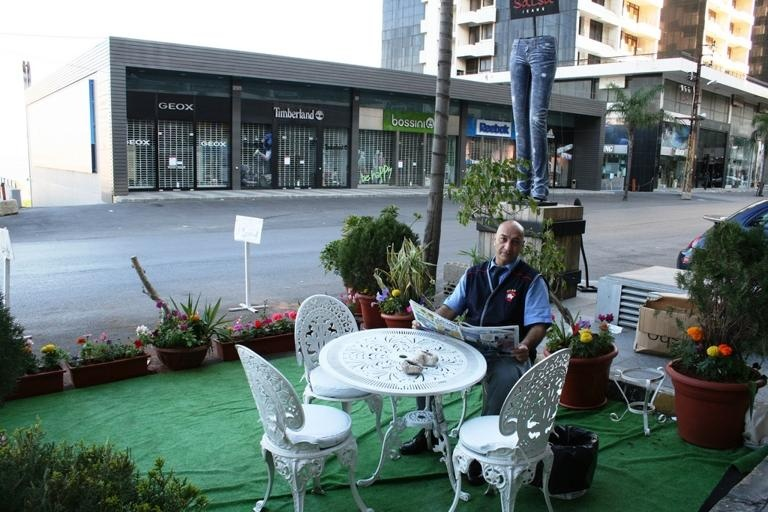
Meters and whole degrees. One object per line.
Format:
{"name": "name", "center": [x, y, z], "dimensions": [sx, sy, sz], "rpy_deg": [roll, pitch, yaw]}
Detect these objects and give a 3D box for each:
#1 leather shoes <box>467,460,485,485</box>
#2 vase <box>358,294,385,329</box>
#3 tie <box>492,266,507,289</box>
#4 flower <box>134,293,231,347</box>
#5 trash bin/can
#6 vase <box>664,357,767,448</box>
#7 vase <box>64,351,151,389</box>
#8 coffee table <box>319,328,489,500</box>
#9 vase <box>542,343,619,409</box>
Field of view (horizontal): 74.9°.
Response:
{"name": "leather shoes", "center": [0.769, 1.861, 4.350], "dimensions": [0.135, 0.137, 0.302], "rpy_deg": [-6, 6, 0]}
{"name": "vase", "center": [-0.219, 0.787, 7.247], "dimensions": [0.455, 0.359, 0.448], "rpy_deg": [-7, 11, -37]}
{"name": "tie", "center": [1.055, 0.200, 4.647], "dimensions": [0.047, 0.199, 0.113], "rpy_deg": [18, -9, -40]}
{"name": "flower", "center": [-2.543, 0.868, 6.508], "dimensions": [0.787, 0.783, 1.104], "rpy_deg": [0, 5, 0]}
{"name": "trash bin/can", "center": [1.560, 1.711, 4.248], "dimensions": [0.465, 0.398, 0.476], "rpy_deg": [11, 2, -9]}
{"name": "vase", "center": [2.990, 1.405, 4.713], "dimensions": [0.763, 0.606, 0.734], "rpy_deg": [-2, 10, -35]}
{"name": "vase", "center": [-3.122, 1.229, 5.681], "dimensions": [0.542, 0.184, 0.363], "rpy_deg": [-6, 7, -34]}
{"name": "coffee table", "center": [0.303, 1.370, 4.275], "dimensions": [1.379, 1.093, 1.387], "rpy_deg": [0, 4, 22]}
{"name": "vase", "center": [2.142, 1.275, 5.536], "dimensions": [0.782, 0.619, 0.813], "rpy_deg": [-1, -3, 36]}
